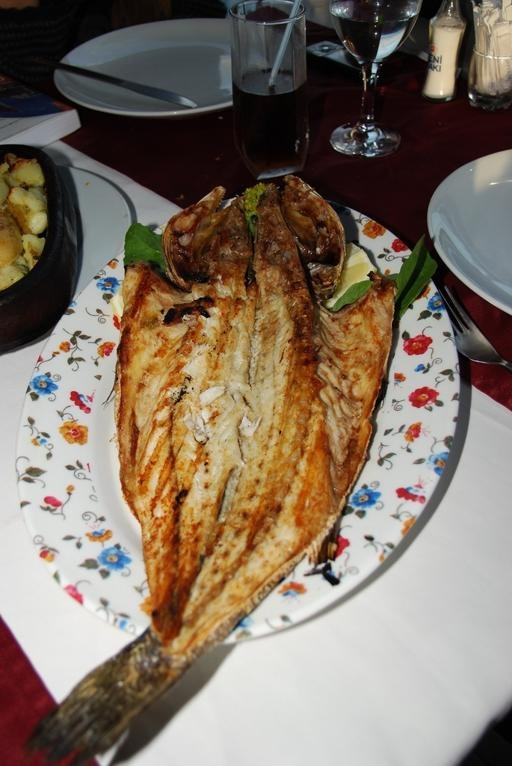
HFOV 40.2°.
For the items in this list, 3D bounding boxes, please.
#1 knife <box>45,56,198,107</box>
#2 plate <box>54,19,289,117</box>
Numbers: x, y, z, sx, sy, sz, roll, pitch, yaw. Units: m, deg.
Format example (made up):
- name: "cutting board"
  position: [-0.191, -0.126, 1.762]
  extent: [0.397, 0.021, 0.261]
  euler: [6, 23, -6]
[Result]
- name: "knife"
  position: [-0.350, -0.876, 2.026]
  extent: [0.556, 0.083, 0.168]
  euler: [21, 44, 27]
- name: "plate"
  position: [-0.232, -0.884, 1.979]
  extent: [0.493, 0.078, 0.486]
  euler: [-29, 47, -33]
